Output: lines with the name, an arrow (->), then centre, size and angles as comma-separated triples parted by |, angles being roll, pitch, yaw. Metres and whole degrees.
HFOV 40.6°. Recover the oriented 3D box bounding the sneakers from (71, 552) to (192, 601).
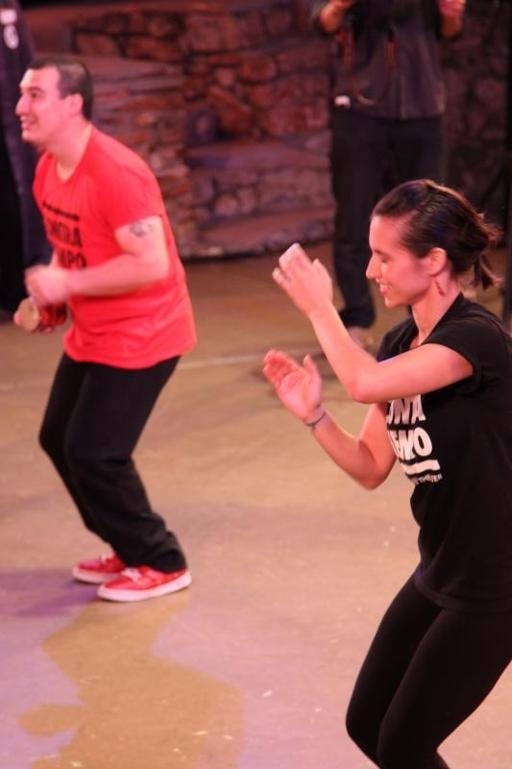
sneakers -> -0.367, 0.558, 2.084 | 0.229, 0.064, 0.167 | 5, -5, -22
